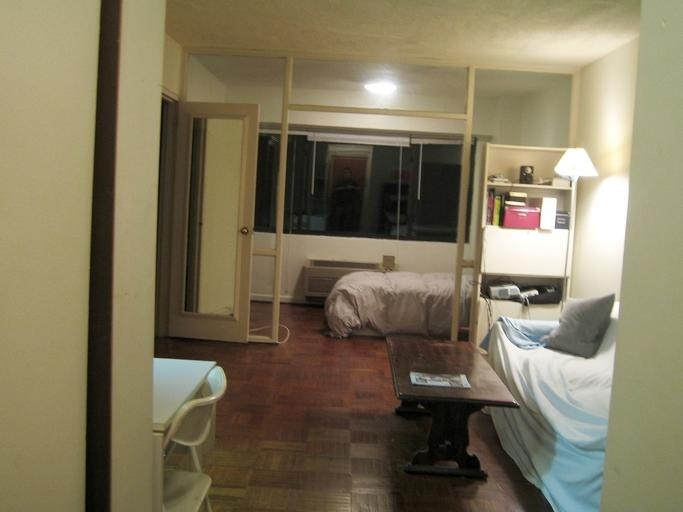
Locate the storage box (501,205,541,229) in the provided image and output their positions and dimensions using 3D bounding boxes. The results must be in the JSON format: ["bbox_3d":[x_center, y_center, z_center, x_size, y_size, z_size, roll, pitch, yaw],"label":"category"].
[{"bbox_3d":[1.362,-0.286,4.333,0.188,0.128,0.196,2,5,11],"label":"storage box"}]
